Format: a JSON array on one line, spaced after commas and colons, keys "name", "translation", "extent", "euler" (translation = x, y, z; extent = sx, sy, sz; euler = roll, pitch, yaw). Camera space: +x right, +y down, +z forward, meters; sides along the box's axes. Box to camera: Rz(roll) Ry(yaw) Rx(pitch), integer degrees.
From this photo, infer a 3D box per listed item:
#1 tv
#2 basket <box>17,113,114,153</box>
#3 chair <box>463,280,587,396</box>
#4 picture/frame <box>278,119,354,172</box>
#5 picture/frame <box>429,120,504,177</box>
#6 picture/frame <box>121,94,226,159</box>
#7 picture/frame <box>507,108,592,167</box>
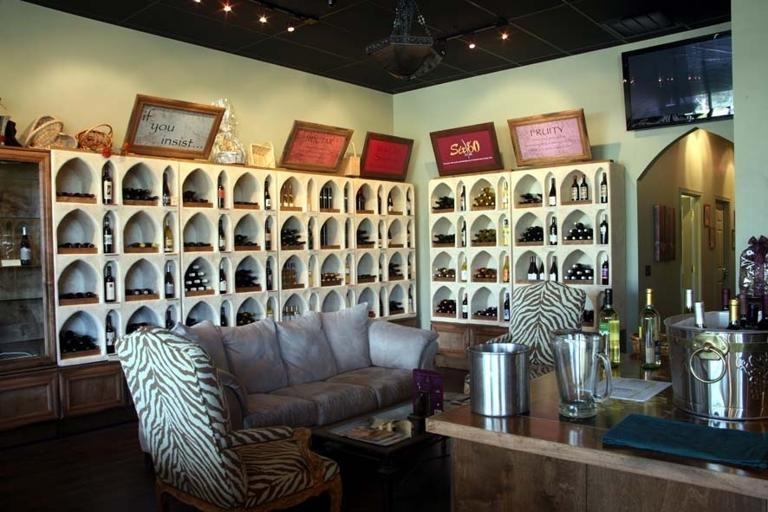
[{"name": "tv", "translation": [3.413, -2.041, 6.417], "extent": [1.258, 0.869, 0.132], "euler": [0, 15, 36]}, {"name": "basket", "translation": [-3.171, -1.192, 5.670], "extent": [0.626, 0.303, 0.461], "euler": [0, -7, -11]}, {"name": "chair", "translation": [1.222, 0.767, 5.413], "extent": [1.023, 1.387, 1.163], "euler": [-3, -6, 40]}, {"name": "picture/frame", "translation": [-0.935, -1.440, 7.354], "extent": [0.964, 0.557, 0.047], "euler": [6, 23, -46]}, {"name": "picture/frame", "translation": [1.185, -1.495, 7.775], "extent": [1.000, 0.710, 0.105], "euler": [-5, 23, 38]}, {"name": "picture/frame", "translation": [-2.360, -1.413, 6.152], "extent": [0.953, 0.644, 0.104], "euler": [4, 25, -35]}, {"name": "picture/frame", "translation": [2.133, -1.497, 7.063], "extent": [0.900, 0.653, 0.122], "euler": [-8, 16, 38]}]
